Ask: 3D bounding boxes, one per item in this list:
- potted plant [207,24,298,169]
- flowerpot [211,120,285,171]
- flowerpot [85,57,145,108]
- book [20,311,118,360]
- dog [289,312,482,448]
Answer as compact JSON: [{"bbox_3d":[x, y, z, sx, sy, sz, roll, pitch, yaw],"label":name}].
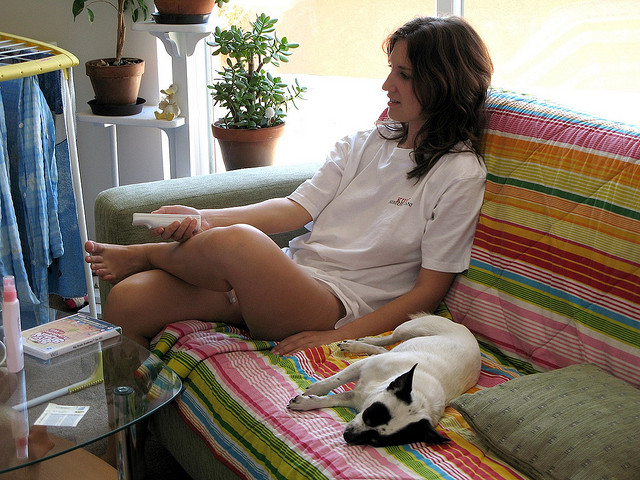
[{"bbox_3d":[-0.300,-0.667,2.256,0.447,0.737,0.364,4,27,3],"label":"potted plant"},{"bbox_3d":[-0.332,-0.443,2.236,0.271,0.203,0.278,17,23,42],"label":"flowerpot"},{"bbox_3d":[-1.037,-0.811,2.358,0.282,0.198,0.266,-1,31,-12],"label":"flowerpot"},{"bbox_3d":[-0.654,0.233,1.173,0.204,0.043,0.179,20,25,32],"label":"book"},{"bbox_3d":[0.201,0.312,1.100,0.246,0.156,0.386,28,25,21],"label":"dog"}]
